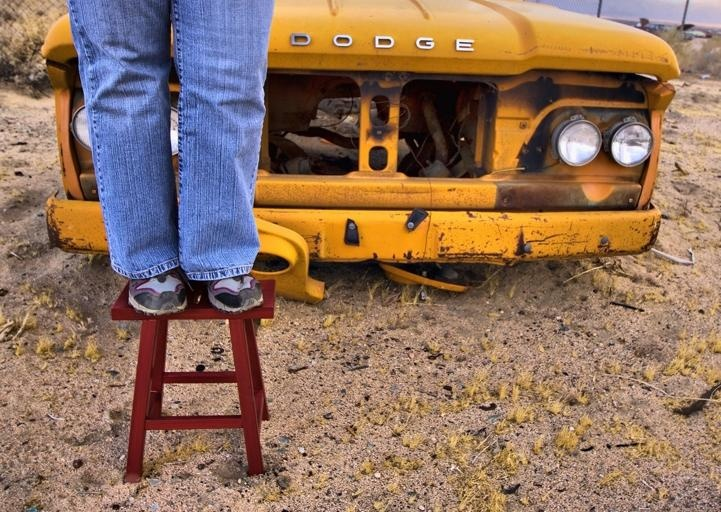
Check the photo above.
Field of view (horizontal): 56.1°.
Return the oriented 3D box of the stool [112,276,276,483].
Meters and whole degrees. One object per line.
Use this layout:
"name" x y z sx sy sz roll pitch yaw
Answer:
"stool" -0.828 0.621 3.552 0.919 0.844 0.880 -2 7 -34
